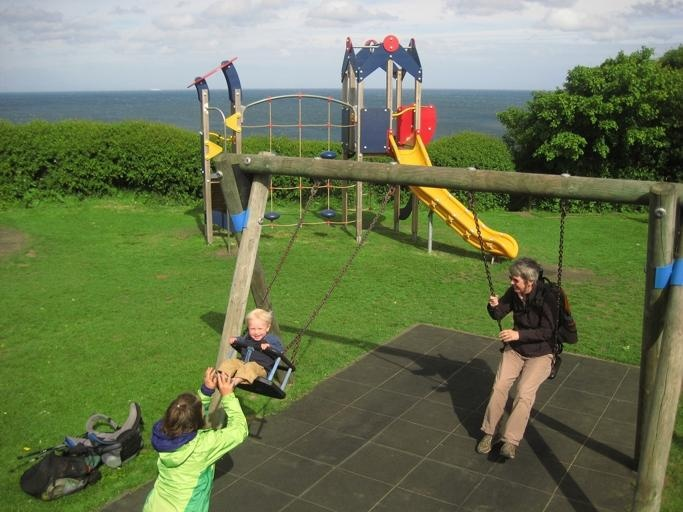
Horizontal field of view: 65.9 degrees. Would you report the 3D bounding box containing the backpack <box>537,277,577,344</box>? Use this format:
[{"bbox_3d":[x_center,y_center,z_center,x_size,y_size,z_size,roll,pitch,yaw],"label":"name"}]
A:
[{"bbox_3d":[2.401,0.629,5.830,0.391,0.839,0.414,4,16,21],"label":"backpack"}]

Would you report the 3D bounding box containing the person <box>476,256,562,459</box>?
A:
[{"bbox_3d":[1.944,1.088,5.794,0.707,2.095,1.057,8,18,32],"label":"person"}]

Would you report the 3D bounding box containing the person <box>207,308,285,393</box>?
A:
[{"bbox_3d":[-0.994,1.025,5.735,0.609,0.850,0.632,7,12,31],"label":"person"}]
